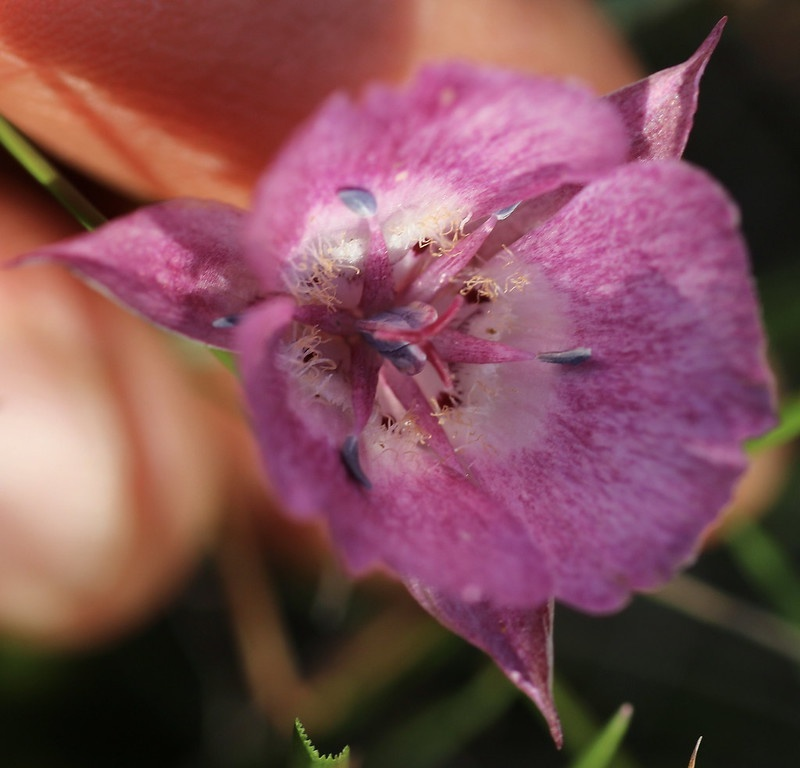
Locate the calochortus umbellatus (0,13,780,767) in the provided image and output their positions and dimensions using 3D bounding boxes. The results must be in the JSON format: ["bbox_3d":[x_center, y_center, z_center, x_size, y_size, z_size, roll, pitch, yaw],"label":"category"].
[{"bbox_3d":[0.055,-0.042,1.176,0.895,0.256,0.690,-21,108,-3],"label":"calochortus umbellatus"}]
